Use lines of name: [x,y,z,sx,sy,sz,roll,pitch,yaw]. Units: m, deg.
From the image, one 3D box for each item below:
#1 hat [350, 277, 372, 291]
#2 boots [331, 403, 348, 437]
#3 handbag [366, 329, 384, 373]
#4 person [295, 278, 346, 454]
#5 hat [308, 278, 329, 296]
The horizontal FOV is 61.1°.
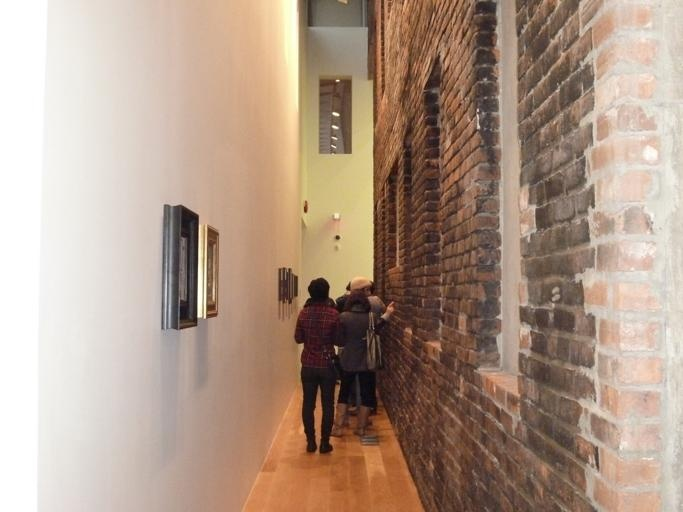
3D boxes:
hat: [0.233,0.304,6.738,0.190,0.114,0.146,-14,13,-9]
boots: [-0.020,1.863,6.716,0.114,0.313,0.363,3,10,34]
handbag: [0.370,1.057,6.558,0.158,0.378,0.241,-2,-1,5]
person: [-0.233,1.109,5.951,0.442,1.374,0.449,-1,-1,-34]
hat: [-0.237,0.312,6.043,0.134,0.212,0.199,1,11,4]
